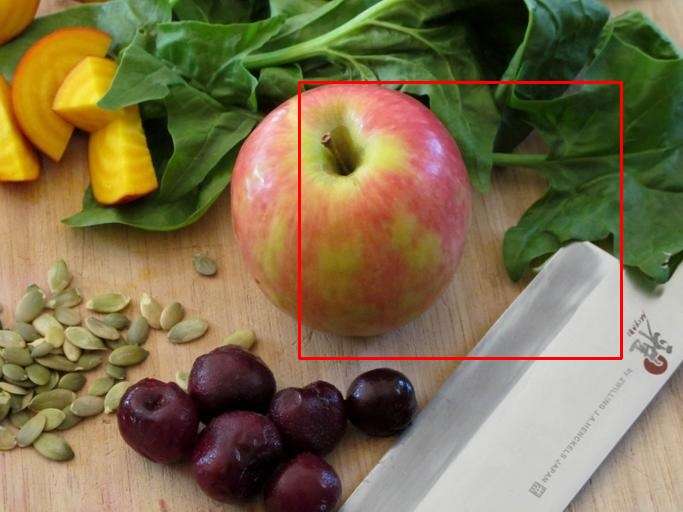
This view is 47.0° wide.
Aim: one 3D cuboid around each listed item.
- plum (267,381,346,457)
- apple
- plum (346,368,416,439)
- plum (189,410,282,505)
[{"bbox_3d":[-0.042,0.226,1.110,0.096,0.116,0.080,-13,15,-24],"label":"plum"},{"bbox_3d":[0.025,-0.080,1.114,0.287,0.323,0.280,24,43,37],"label":"apple"},{"bbox_3d":[0.057,0.206,1.143,0.088,0.090,0.103,-17,34,-28],"label":"plum"},{"bbox_3d":[-0.141,0.270,1.055,0.119,0.093,0.079,17,39,-2],"label":"plum"}]
